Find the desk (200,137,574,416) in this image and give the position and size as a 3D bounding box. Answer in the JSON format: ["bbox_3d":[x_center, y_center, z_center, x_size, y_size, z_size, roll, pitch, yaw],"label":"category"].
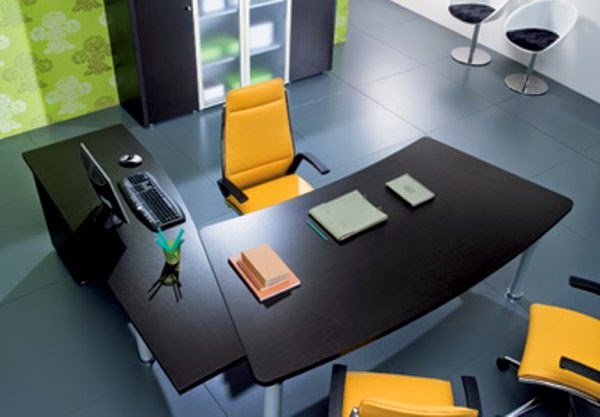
[{"bbox_3d":[0.529,1.047,3.645,2.563,0.654,1.435,-26,52,-22],"label":"desk"}]

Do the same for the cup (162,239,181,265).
[{"bbox_3d":[-0.806,0.269,2.751,0.093,0.103,0.093,0,38,0],"label":"cup"}]

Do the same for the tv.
[{"bbox_3d":[-1.384,-0.136,3.103,0.124,0.366,0.505,-22,52,-21],"label":"tv"}]

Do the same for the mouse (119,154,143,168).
[{"bbox_3d":[-1.294,-0.368,3.344,0.135,0.049,0.104,-4,45,-5],"label":"mouse"}]

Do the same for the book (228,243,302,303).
[{"bbox_3d":[-0.249,0.464,2.819,0.298,0.086,0.352,-21,48,-22],"label":"book"}]
